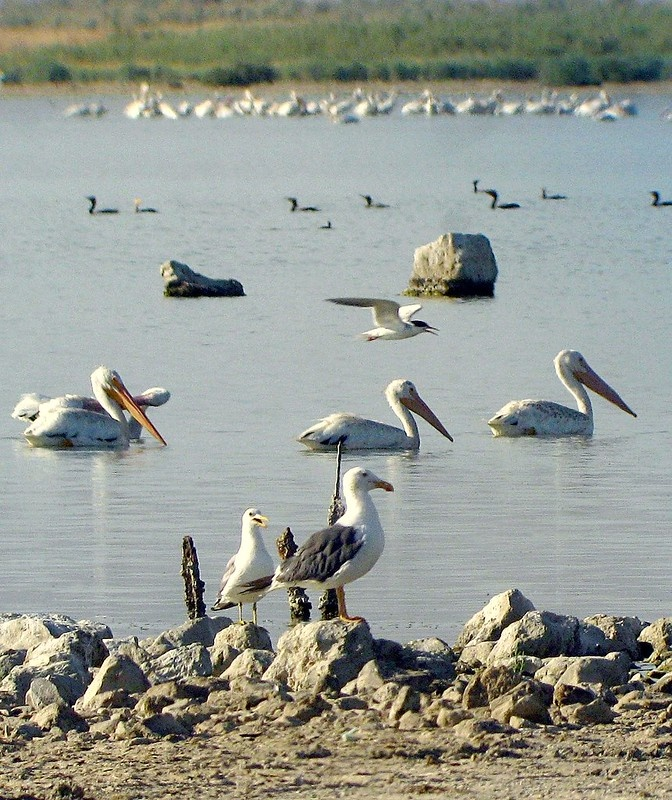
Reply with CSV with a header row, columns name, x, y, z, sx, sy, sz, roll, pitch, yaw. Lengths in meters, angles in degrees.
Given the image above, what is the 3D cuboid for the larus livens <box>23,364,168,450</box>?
name,x,y,z,sx,sy,sz,roll,pitch,yaw
larus livens,-2.772,0.078,24.311,1.182,0.853,1.779,-1,0,17

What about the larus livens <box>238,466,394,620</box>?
name,x,y,z,sx,sy,sz,roll,pitch,yaw
larus livens,0.004,0.888,13.378,0.678,0.898,0.572,0,0,-30

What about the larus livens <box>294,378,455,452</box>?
name,x,y,z,sx,sy,sz,roll,pitch,yaw
larus livens,0.336,0.186,23.960,2.034,1.197,0.661,3,-2,-36
